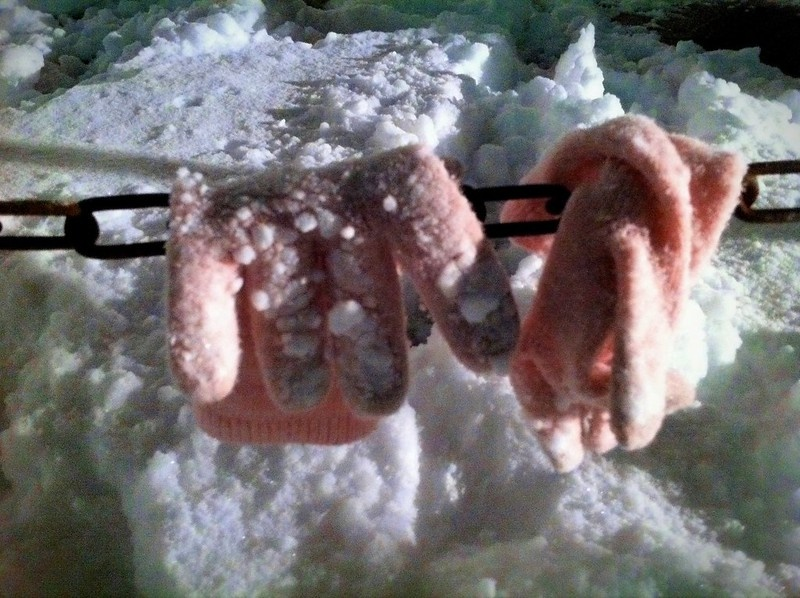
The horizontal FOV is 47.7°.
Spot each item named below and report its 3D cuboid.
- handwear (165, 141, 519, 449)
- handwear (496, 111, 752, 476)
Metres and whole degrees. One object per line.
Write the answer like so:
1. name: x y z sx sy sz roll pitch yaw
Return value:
1. handwear: -0.109 -0.004 1.727 0.643 0.235 0.497 -5 76 -3
2. handwear: 0.381 -0.032 1.858 0.511 0.216 0.622 15 96 -18
